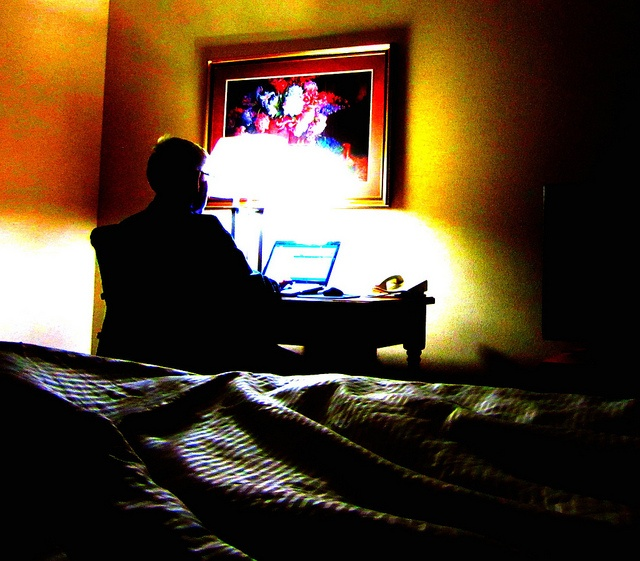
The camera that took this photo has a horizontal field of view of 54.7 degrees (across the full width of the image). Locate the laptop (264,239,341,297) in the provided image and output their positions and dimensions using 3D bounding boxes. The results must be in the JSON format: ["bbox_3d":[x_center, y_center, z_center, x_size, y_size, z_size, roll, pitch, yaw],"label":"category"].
[{"bbox_3d":[-0.094,-0.041,2.339,0.294,0.160,0.314,-21,18,-35],"label":"laptop"}]

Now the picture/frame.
[{"bbox_3d":[-0.054,-0.641,2.614,0.903,0.710,0.069,-2,-9,30],"label":"picture/frame"}]
